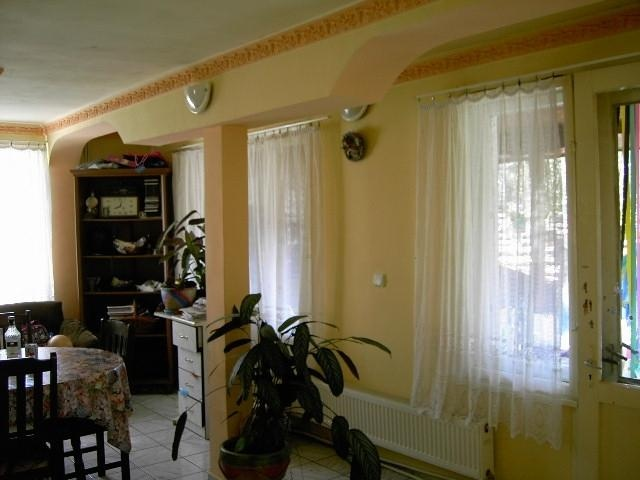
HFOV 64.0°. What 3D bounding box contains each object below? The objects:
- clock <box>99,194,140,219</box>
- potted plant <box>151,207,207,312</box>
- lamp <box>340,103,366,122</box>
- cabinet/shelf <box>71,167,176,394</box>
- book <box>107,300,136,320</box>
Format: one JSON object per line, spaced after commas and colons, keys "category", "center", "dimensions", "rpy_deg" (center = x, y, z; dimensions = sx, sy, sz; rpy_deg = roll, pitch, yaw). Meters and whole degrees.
{"category": "clock", "center": [-2.310, -0.401, 5.967], "dimensions": [0.414, 0.293, 0.236], "rpy_deg": [-1, 2, -1]}
{"category": "potted plant", "center": [-1.426, 0.188, 5.312], "dimensions": [0.509, 1.013, 1.307], "rpy_deg": [-1, 2, -17]}
{"category": "lamp", "center": [0.285, -1.059, 4.311], "dimensions": [0.274, 0.116, 0.068], "rpy_deg": [2, 2, 34]}
{"category": "cabinet/shelf", "center": [-2.256, 0.433, 5.941], "dimensions": [1.033, 2.446, 0.442], "rpy_deg": [-1, 3, -5]}
{"category": "book", "center": [-2.236, 0.796, 5.820], "dimensions": [0.231, 0.090, 0.199], "rpy_deg": [-2, 7, -21]}
